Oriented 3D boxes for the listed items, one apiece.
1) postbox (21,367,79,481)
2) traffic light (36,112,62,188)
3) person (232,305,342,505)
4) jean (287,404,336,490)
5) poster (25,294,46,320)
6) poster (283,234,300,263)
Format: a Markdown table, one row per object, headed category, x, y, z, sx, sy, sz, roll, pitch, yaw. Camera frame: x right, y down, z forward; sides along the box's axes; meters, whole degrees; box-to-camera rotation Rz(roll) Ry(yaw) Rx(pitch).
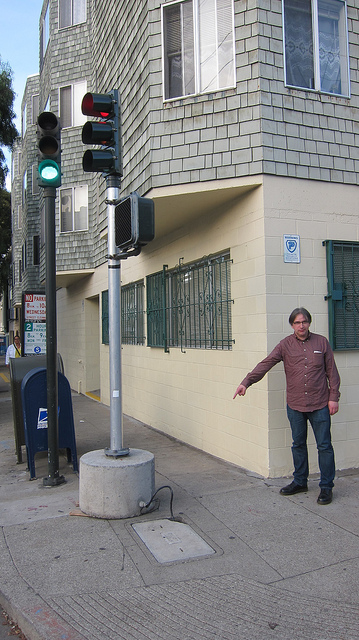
| category | x | y | z | sx | sy | sz | roll | pitch | yaw |
| --- | --- | --- | --- | --- | --- | --- | --- | --- | --- |
| postbox | -1.430 | 1.123 | 6.805 | 0.629 | 1.242 | 0.636 | -2 | 1 | -27 |
| traffic light | -1.316 | -1.762 | 6.376 | 0.250 | 0.707 | 0.259 | 1 | -1 | 25 |
| person | 1.059 | 0.746 | 5.494 | 0.734 | 1.537 | 0.467 | -2 | 0 | 18 |
| jean | 1.201 | 1.152 | 5.528 | 0.219 | 0.669 | 0.465 | -3 | 1 | -44 |
| poster | -3.527 | -0.278 | 14.783 | 0.073 | 0.517 | 0.542 | -21 | -10 | 40 |
| poster | 1.134 | -0.714 | 6.236 | 0.262 | 0.398 | 0.028 | 1 | -2 | -33 |
